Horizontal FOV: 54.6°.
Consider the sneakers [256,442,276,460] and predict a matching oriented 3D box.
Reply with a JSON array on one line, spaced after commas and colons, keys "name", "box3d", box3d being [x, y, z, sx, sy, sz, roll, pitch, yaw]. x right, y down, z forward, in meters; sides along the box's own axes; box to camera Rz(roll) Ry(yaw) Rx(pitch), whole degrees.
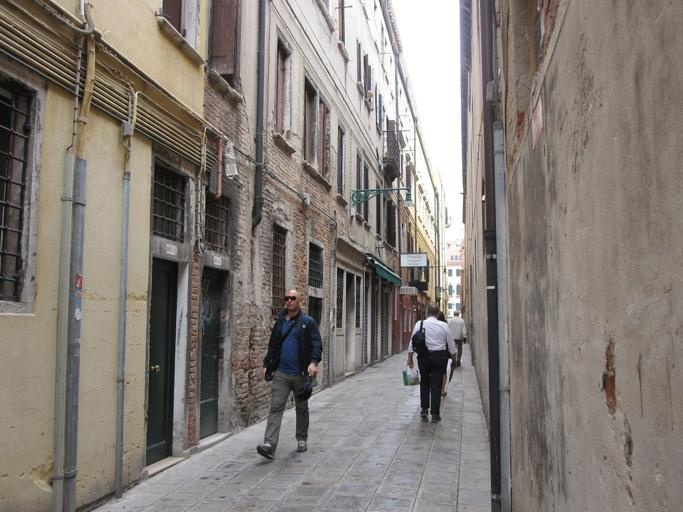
[{"name": "sneakers", "box3d": [-0.877, 2.292, 7.769, 0.193, 0.210, 0.336, 0, -4, -2]}]

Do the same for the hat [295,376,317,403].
[{"name": "hat", "box3d": [-0.436, 1.627, 8.189, 0.229, 0.305, 0.222, 1, -3, -25]}]

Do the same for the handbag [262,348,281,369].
[{"name": "handbag", "box3d": [-0.860, 1.328, 8.376, 0.204, 0.366, 0.178, 3, -16, 0]}]

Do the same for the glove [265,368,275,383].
[{"name": "glove", "box3d": [-0.909, 1.509, 8.309, 0.145, 0.249, 0.117, 4, -10, -25]}]

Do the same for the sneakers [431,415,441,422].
[{"name": "sneakers", "box3d": [1.474, 2.525, 10.322, 0.145, 0.104, 0.280, -1, -4, 9]}]

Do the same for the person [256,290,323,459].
[{"name": "person", "box3d": [-0.638, 1.426, 8.225, 0.824, 1.999, 0.832, 0, -2, -21]}]

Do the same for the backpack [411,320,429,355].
[{"name": "backpack", "box3d": [1.248, 1.333, 10.690, 0.249, 0.512, 0.273, 0, -2, 0]}]

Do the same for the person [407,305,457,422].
[{"name": "person", "box3d": [1.454, 1.717, 10.748, 0.723, 1.792, 0.955, -1, -2, 19]}]
